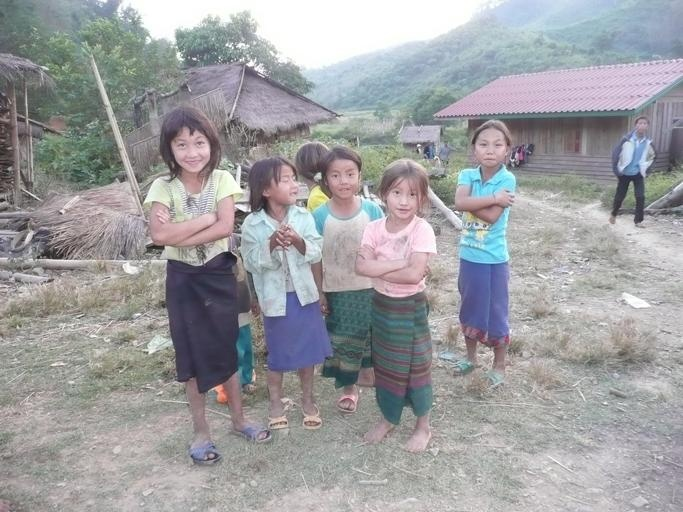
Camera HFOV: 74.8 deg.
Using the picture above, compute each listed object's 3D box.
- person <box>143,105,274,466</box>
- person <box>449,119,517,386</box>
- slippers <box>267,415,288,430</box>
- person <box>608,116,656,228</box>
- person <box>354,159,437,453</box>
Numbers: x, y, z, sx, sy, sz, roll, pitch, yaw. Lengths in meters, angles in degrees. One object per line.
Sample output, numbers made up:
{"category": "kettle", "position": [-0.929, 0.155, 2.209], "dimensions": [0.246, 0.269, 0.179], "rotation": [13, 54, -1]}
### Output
{"category": "person", "position": [-0.886, 0.186, 2.939], "dimensions": [0.593, 2.271, 0.500], "rotation": [-10, 15, -23]}
{"category": "person", "position": [1.128, -0.015, 3.575], "dimensions": [0.439, 2.061, 0.475], "rotation": [3, 16, 27]}
{"category": "slippers", "position": [-0.454, 1.187, 3.170], "dimensions": [0.089, 0.040, 0.111], "rotation": [1, 12, -5]}
{"category": "person", "position": [5.417, -1.576, 8.333], "dimensions": [0.653, 1.966, 0.700], "rotation": [6, 17, 34]}
{"category": "person", "position": [0.379, 0.316, 3.052], "dimensions": [0.515, 1.894, 0.614], "rotation": [-1, 14, 12]}
